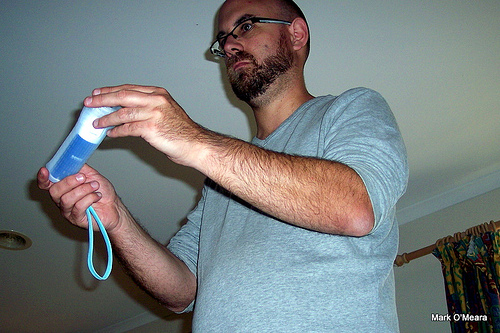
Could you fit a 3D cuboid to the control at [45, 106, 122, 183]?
[{"bbox_3d":[-0.673,-0.095,1.699,0.355,0.339,0.094,0,28,2],"label":"control"}]
